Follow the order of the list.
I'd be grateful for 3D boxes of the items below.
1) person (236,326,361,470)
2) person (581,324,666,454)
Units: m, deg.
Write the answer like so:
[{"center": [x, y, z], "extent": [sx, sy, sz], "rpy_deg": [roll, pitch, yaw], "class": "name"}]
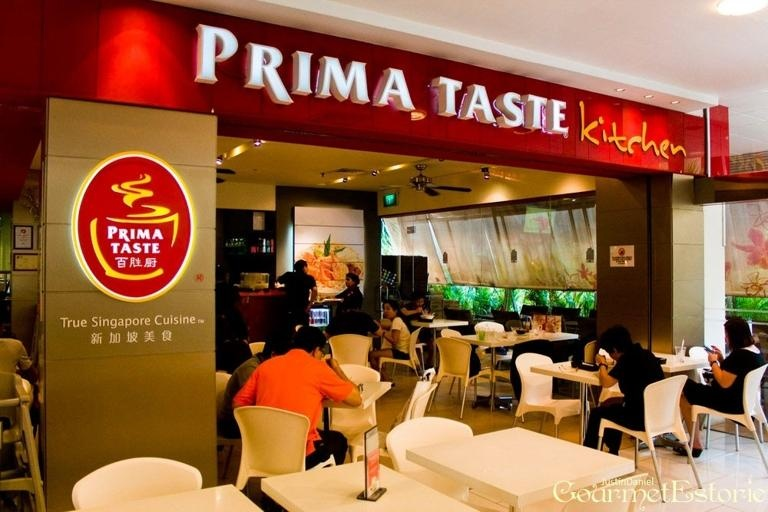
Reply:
[{"center": [-0.746, 1.430, 4.861], "extent": [1.086, 1.489, 0.799], "rpy_deg": [5, 0, -19], "class": "person"}, {"center": [2.356, 1.290, 5.697], "extent": [0.726, 0.839, 0.326], "rpy_deg": [-5, -3, 44], "class": "person"}]
